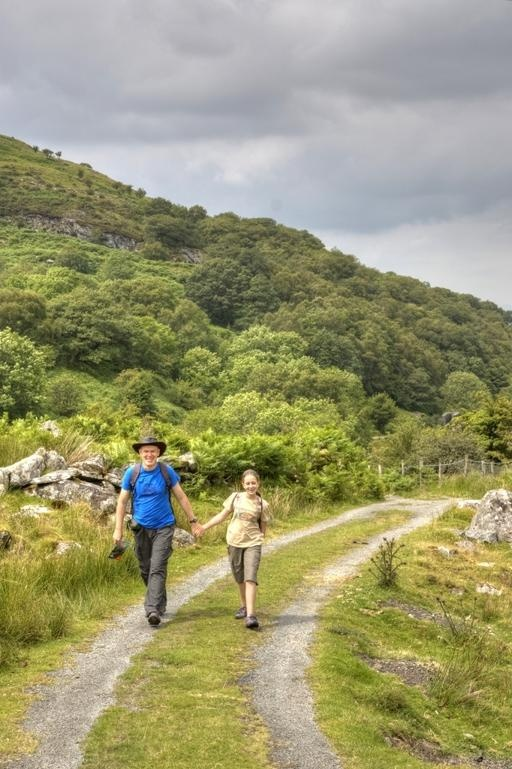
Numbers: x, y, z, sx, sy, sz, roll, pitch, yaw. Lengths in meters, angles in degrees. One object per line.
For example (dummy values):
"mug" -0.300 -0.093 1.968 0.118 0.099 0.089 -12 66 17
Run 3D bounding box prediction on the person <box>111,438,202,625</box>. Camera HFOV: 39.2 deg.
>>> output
"person" -1.269 1.775 8.781 0.966 2.287 0.603 1 1 5

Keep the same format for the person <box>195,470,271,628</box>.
"person" -0.195 2.013 8.970 0.661 1.936 0.915 1 1 -2

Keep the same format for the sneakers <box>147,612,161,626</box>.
"sneakers" -1.229 2.794 8.627 0.165 0.206 0.260 1 1 -9

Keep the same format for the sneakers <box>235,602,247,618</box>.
"sneakers" -0.188 2.866 9.082 0.083 0.098 0.238 -2 -9 10

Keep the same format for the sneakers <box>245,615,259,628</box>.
"sneakers" -0.048 2.849 8.650 0.157 0.187 0.221 1 1 -1
